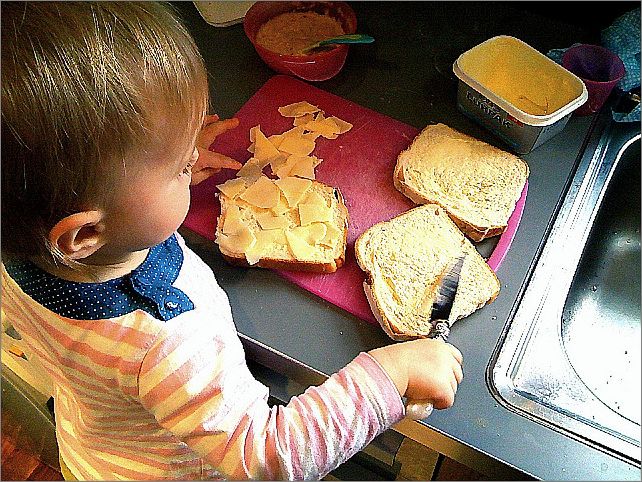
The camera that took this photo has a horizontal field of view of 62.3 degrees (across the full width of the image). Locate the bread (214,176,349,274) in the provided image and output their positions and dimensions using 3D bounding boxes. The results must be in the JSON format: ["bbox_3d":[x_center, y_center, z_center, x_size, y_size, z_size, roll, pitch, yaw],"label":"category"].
[{"bbox_3d":[-0.089,-0.054,1.183,0.251,0.081,0.210,-2,71,-3],"label":"bread"}]

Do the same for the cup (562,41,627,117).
[{"bbox_3d":[0.663,-0.409,1.352,0.155,0.128,0.158,-3,58,4],"label":"cup"}]

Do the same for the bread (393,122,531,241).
[{"bbox_3d":[0.351,-0.144,1.287,0.340,0.078,0.364,-11,59,-17],"label":"bread"}]

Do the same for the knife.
[{"bbox_3d":[0.262,0.146,1.103,0.072,0.054,0.452,9,63,28],"label":"knife"}]
